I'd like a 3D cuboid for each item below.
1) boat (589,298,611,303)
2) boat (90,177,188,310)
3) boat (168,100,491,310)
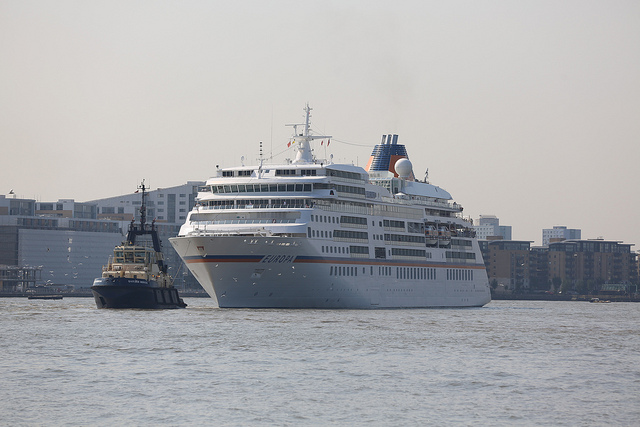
[{"bbox_3d":[50.444,15.308,243.454,3.671,0.644,1.035,5,-6,-34],"label":"boat"},{"bbox_3d":[-20.357,4.316,155.695,7.439,17.665,49.892,1,-10,-7],"label":"boat"},{"bbox_3d":[2.399,3.175,143.929,13.570,16.122,44.143,-8,-12,31],"label":"boat"}]
